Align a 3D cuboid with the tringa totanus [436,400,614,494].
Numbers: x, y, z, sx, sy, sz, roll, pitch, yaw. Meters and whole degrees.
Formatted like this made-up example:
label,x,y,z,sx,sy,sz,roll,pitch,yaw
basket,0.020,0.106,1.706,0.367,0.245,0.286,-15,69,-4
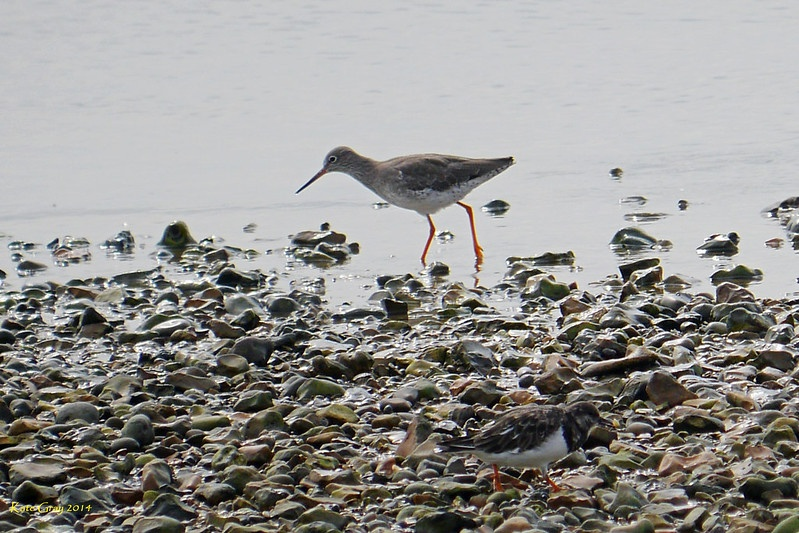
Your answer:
label,x,y,z,sx,sy,sz,roll,pitch,yaw
tringa totanus,1.140,1.561,9.165,1.473,0.568,0.329,2,-11,-21
